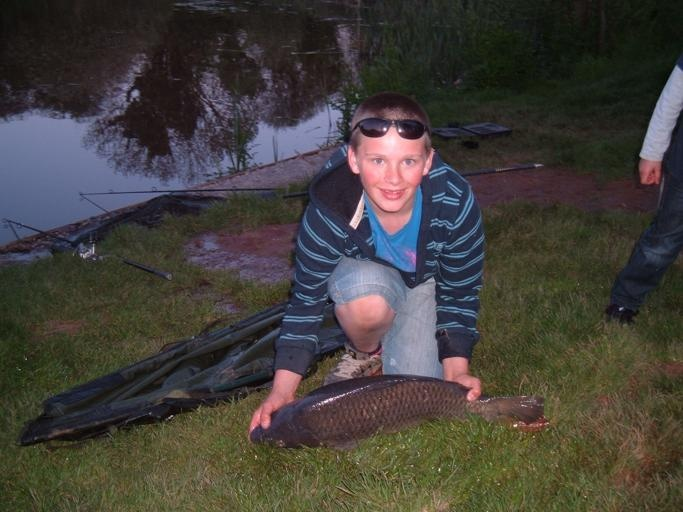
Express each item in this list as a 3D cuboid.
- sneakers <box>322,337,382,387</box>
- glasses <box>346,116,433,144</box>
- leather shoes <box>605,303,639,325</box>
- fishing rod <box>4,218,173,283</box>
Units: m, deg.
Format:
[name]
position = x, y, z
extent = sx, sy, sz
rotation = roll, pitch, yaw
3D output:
[sneakers]
position = 0.076, 0.773, 4.804
extent = 0.398, 0.136, 0.243
rotation = -23, 31, -27
[glasses]
position = 0.316, -0.807, 4.261
extent = 0.393, 0.136, 0.074
rotation = -1, 27, 4
[leather shoes]
position = 2.175, 0.443, 5.207
extent = 0.211, 0.080, 0.145
rotation = 2, 22, 19
[fishing rod]
position = -2.560, -0.022, 6.887
extent = 1.405, 0.213, 0.203
rotation = 20, 56, 21
